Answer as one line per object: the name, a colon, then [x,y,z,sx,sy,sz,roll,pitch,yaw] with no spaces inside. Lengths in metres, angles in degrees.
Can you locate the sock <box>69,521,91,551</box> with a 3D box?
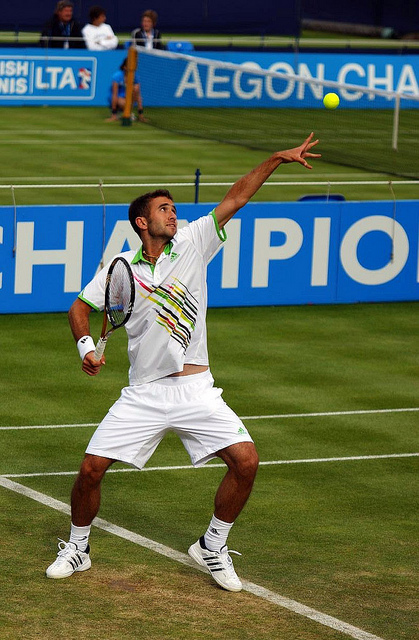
sock: [-0.729,1.161,5.477,0.149,0.148,0.098,11,13,41]

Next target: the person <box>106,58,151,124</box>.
person: [-1.893,-4.993,22.071,0.924,1.364,0.995,-12,23,-31]

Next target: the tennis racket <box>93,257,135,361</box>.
tennis racket: [-0.536,-0.044,5.400,0.028,0.536,0.214,17,-26,9]

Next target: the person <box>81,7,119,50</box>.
person: [-2.467,-6.372,22.345,0.787,0.952,0.689,-1,10,-17]

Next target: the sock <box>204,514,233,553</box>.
sock: [0.046,1.142,5.457,0.146,0.183,0.101,3,10,2]
